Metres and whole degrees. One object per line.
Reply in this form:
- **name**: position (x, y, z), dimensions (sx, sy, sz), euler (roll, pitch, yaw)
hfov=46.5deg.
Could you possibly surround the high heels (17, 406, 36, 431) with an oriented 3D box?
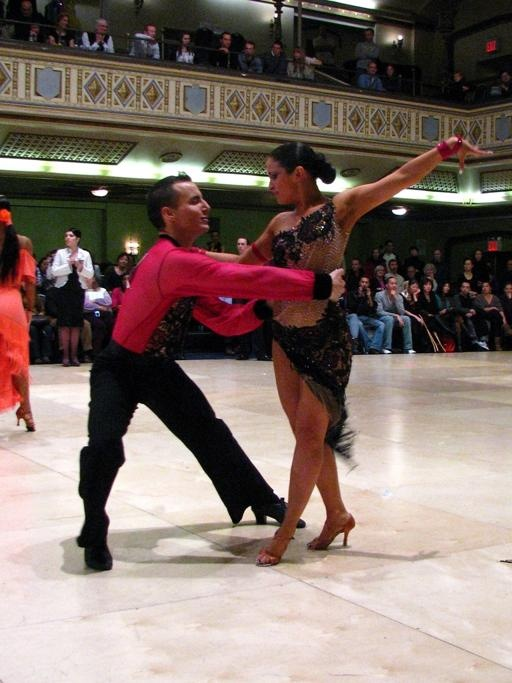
- **high heels**: position (-1.858, 0.625, 4.830), dimensions (0.135, 0.214, 0.208), euler (-1, -2, -20)

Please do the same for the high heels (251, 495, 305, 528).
- **high heels**: position (0.132, 0.729, 2.545), dimensions (0.316, 0.128, 0.097), euler (-3, -5, 17)

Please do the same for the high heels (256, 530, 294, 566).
- **high heels**: position (0.070, 0.723, 2.110), dimensions (0.092, 0.101, 0.207), euler (-2, -3, 32)

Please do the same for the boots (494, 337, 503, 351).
- **boots**: position (5.969, 0.062, 14.672), dimensions (0.172, 0.335, 0.531), euler (-2, -2, 22)

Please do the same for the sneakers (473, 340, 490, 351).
- **sneakers**: position (5.395, 0.084, 14.472), dimensions (0.172, 0.170, 0.472), euler (-17, 23, -42)

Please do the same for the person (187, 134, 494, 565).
- **person**: position (0.274, -0.002, 2.252), dimensions (0.804, 1.574, 0.474), euler (-1, -2, -3)
